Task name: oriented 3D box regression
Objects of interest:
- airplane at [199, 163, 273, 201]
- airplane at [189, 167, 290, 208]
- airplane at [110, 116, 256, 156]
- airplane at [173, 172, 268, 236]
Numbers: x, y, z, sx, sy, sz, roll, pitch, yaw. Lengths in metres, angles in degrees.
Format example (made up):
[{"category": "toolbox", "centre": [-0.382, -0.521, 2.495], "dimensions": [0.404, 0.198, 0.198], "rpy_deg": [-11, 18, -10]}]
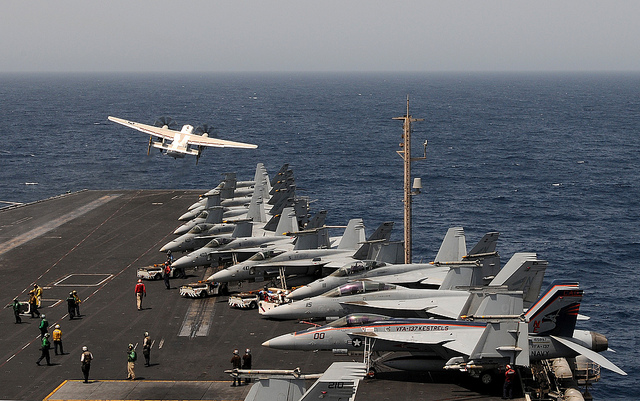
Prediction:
[{"category": "airplane", "centre": [-12.766, -2.448, 141.368], "dimensions": [12.278, 3.741, 9.504], "rpy_deg": [-16, 14, -31]}, {"category": "airplane", "centre": [-13.920, -1.878, 139.869], "dimensions": [9.989, 2.677, 9.565], "rpy_deg": [-10, 11, -17]}, {"category": "airplane", "centre": [-32.593, -14.835, 214.953], "dimensions": [24.501, 3.613, 14.841], "rpy_deg": [7, 16, 3]}, {"category": "airplane", "centre": [-14.098, 1.515, 128.611], "dimensions": [11.909, 4.891, 10.154], "rpy_deg": [-1, 5, -36]}]
